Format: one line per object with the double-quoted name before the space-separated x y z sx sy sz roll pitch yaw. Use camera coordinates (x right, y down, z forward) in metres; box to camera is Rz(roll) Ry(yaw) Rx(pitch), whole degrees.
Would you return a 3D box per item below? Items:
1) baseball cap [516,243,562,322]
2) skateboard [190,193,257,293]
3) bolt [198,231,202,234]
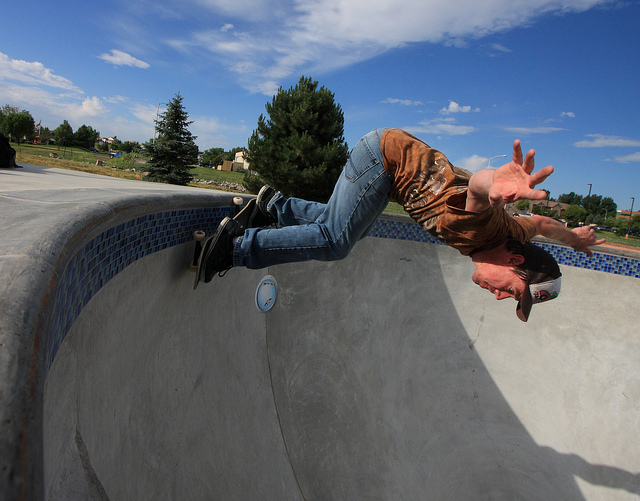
"baseball cap" 1.505 0.237 2.334 0.276 0.528 0.155 3 13 -16
"skateboard" -0.805 -0.079 2.772 0.264 0.362 0.901 34 54 -5
"bolt" -0.933 -0.143 2.628 0.025 0.010 0.052 5 15 -12
